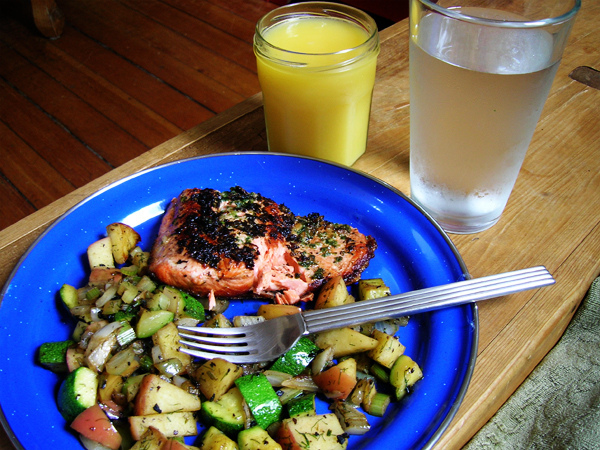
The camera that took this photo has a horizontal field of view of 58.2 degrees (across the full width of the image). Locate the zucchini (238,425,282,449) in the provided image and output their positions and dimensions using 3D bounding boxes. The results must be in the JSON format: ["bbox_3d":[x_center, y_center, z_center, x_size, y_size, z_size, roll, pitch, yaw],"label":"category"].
[{"bbox_3d":[-0.087,0.442,1.121,0.085,0.027,0.057,-6,59,-7],"label":"zucchini"}]

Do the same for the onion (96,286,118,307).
[{"bbox_3d":[-0.468,0.171,1.301,0.031,0.012,0.051,16,51,46],"label":"onion"}]

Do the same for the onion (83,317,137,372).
[{"bbox_3d":[-0.436,0.272,1.230,0.079,0.038,0.116,50,54,1],"label":"onion"}]

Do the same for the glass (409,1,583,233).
[{"bbox_3d":[0.435,-0.257,1.464,0.381,0.679,0.361,-27,58,-15],"label":"glass"}]

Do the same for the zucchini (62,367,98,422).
[{"bbox_3d":[-0.479,0.362,1.166,0.071,0.032,0.107,-6,59,-7],"label":"zucchini"}]

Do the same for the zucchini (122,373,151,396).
[{"bbox_3d":[-0.376,0.349,1.207,0.050,0.015,0.049,-7,35,4],"label":"zucchini"}]

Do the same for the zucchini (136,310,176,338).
[{"bbox_3d":[-0.340,0.229,1.260,0.082,0.029,0.061,-1,58,-4],"label":"zucchini"}]

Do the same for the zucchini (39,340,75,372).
[{"bbox_3d":[-0.551,0.285,1.234,0.062,0.021,0.056,-13,61,16],"label":"zucchini"}]

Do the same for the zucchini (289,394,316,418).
[{"bbox_3d":[0.004,0.393,1.170,0.056,0.036,0.052,-3,59,-5],"label":"zucchini"}]

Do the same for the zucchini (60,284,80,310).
[{"bbox_3d":[-0.562,0.173,1.309,0.045,0.013,0.057,-21,71,-46],"label":"zucchini"}]

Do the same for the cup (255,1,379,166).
[{"bbox_3d":[0.049,-0.398,1.547,0.321,0.340,0.308,0,50,0],"label":"cup"}]
